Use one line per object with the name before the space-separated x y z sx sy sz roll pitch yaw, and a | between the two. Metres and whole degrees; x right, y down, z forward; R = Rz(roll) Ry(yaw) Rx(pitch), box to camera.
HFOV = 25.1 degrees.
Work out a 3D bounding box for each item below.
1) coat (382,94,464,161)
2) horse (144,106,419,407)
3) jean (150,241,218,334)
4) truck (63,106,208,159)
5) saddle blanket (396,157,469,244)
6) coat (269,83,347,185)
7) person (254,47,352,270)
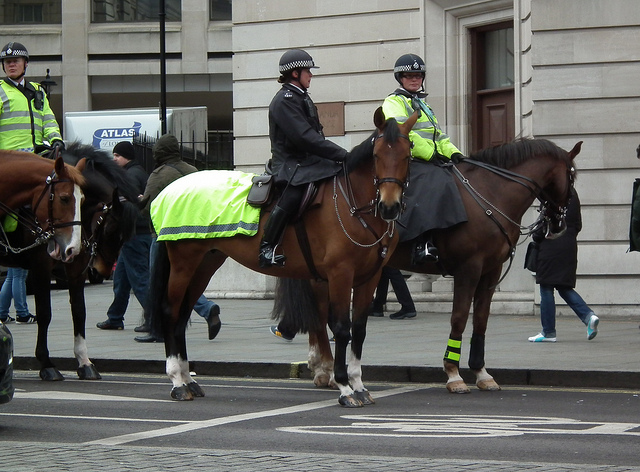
coat | 1.299 -1.429 18.867 0.831 0.935 1.022 -3 -2 29
horse | -0.393 0.354 18.226 4.876 3.406 1.351 -2 0 34
jean | -1.798 0.659 18.674 0.799 1.242 1.066 15 7 9
truck | -4.737 -2.752 36.442 2.849 1.578 2.791 -1 1 7
saddle blanket | 1.405 -0.450 18.449 0.761 1.022 0.747 -1 11 -25
coat | -0.284 -1.219 17.705 1.329 1.289 1.078 -1 2 3
person | -0.295 -0.919 17.827 1.134 2.728 0.655 -1 5 3
